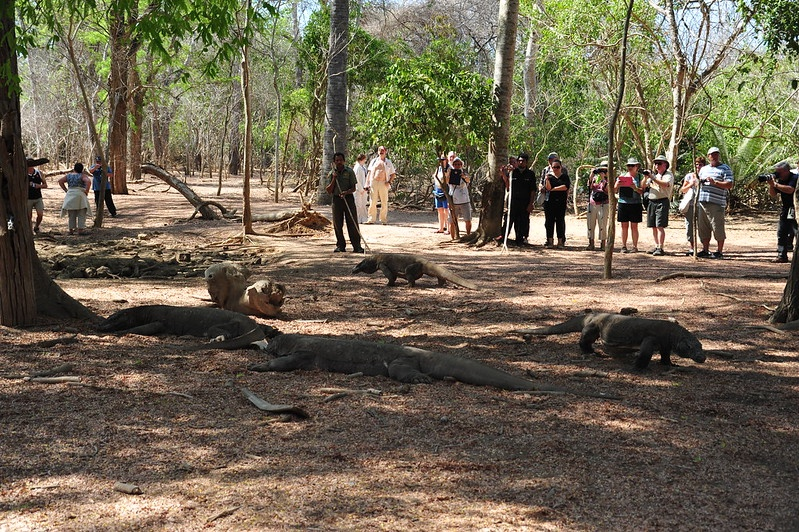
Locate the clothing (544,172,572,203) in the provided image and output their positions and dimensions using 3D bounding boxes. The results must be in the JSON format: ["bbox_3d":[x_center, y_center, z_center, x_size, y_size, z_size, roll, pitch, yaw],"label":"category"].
[{"bbox_3d":[3.747,-1.857,18.587,0.596,0.737,0.572,-2,7,-5],"label":"clothing"}]

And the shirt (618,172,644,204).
[{"bbox_3d":[5.133,-1.718,17.398,0.753,0.853,0.514,2,17,18],"label":"shirt"}]

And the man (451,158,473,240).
[{"bbox_3d":[1.529,-1.816,20.100,0.512,1.917,0.863,-1,7,3],"label":"man"}]

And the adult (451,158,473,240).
[{"bbox_3d":[1.529,-1.817,20.111,0.512,1.917,0.884,-1,7,3],"label":"adult"}]

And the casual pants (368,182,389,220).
[{"bbox_3d":[-0.661,-1.941,23.208,0.627,1.243,0.391,3,3,7],"label":"casual pants"}]

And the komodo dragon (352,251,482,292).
[{"bbox_3d":[0.246,0.078,14.777,2.629,0.681,0.743,-2,8,25],"label":"komodo dragon"}]

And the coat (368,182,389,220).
[{"bbox_3d":[-0.666,-1.927,23.271,0.656,1.301,0.407,2,-9,2],"label":"coat"}]

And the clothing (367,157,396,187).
[{"bbox_3d":[-0.569,-2.747,22.655,1.223,1.077,0.676,1,7,-4],"label":"clothing"}]

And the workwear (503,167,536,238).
[{"bbox_3d":[2.906,-1.483,18.993,0.745,1.828,0.730,-2,7,-4],"label":"workwear"}]

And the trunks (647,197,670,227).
[{"bbox_3d":[5.645,-1.169,17.069,0.440,0.629,0.499,1,7,15],"label":"trunks"}]

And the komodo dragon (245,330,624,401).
[{"bbox_3d":[0.233,1.136,9.827,4.865,0.516,1.390,4,-1,16],"label":"komodo dragon"}]

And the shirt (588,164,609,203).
[{"bbox_3d":[4.678,-1.849,18.293,0.507,1.044,0.405,6,26,22],"label":"shirt"}]

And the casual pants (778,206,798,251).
[{"bbox_3d":[8.055,-0.747,16.271,0.299,0.928,0.943,2,7,25],"label":"casual pants"}]

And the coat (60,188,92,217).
[{"bbox_3d":[-8.736,-1.799,21.337,1.019,0.851,0.561,1,-5,-20],"label":"coat"}]

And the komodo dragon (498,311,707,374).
[{"bbox_3d":[2.684,0.904,10.396,0.642,0.578,2.607,-7,6,-37],"label":"komodo dragon"}]

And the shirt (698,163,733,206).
[{"bbox_3d":[6.691,-1.851,16.790,0.763,0.785,0.459,14,30,31],"label":"shirt"}]

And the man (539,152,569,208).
[{"bbox_3d":[3.670,-1.937,18.931,0.608,1.406,0.501,1,-9,5],"label":"man"}]

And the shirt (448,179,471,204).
[{"bbox_3d":[1.538,-1.866,20.117,0.713,0.801,0.495,-3,-3,4],"label":"shirt"}]

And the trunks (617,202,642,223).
[{"bbox_3d":[5.119,-1.162,17.631,0.714,0.559,0.415,0,-8,10],"label":"trunks"}]
